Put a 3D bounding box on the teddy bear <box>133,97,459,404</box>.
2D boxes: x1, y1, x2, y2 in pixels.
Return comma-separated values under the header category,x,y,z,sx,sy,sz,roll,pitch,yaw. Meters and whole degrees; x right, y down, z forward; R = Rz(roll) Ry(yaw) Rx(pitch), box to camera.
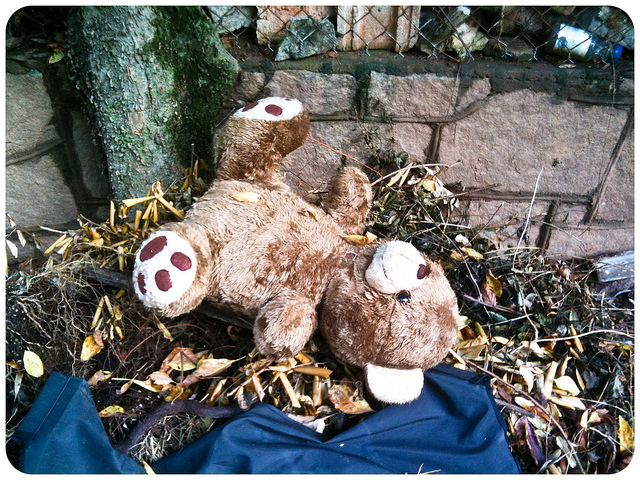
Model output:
category,x,y,z,sx,sy,sz,roll,pitch,yaw
teddy bear,-0.190,0.204,2.461,1.206,0.490,1.109,32,57,0
